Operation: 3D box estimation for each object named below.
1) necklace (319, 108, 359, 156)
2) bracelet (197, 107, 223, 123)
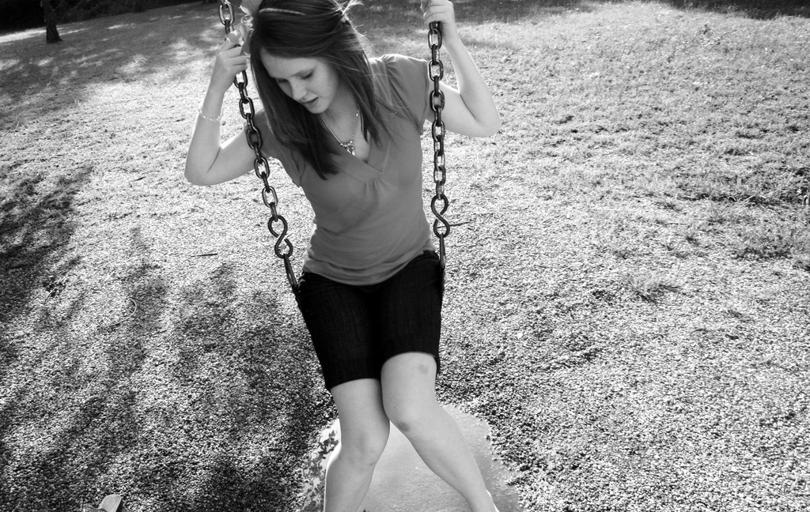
[{"bbox_3d":[-0.316,-0.649,4.071,0.158,0.278,0.085,-34,-5,15],"label":"necklace"},{"bbox_3d":[-1.024,-0.732,4.090,0.092,0.085,0.093,-26,68,-24],"label":"bracelet"}]
